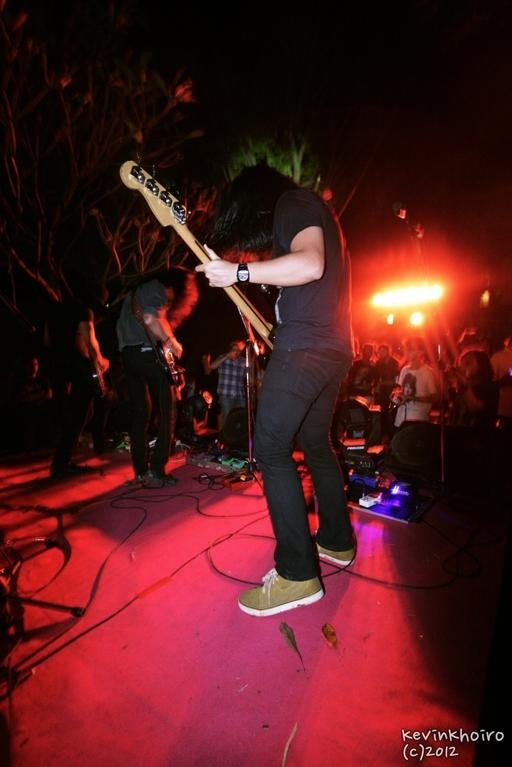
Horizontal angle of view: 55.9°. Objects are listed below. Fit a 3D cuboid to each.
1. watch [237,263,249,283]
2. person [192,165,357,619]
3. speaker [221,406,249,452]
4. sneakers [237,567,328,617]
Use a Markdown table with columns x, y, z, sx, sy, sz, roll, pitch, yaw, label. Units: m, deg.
| x | y | z | sx | sy | sz | roll | pitch | yaw | label |
| --- | --- | --- | --- | --- | --- | --- | --- | --- | --- |
| -0.052 | -0.435 | 1.941 | 0.045 | 0.081 | 0.072 | -1 | 14 | -2 | watch |
| 0.120 | -0.034 | 2.228 | 0.672 | 2.019 | 0.711 | 0 | 10 | 12 | person |
| -0.203 | 0.433 | 4.622 | 0.275 | 0.401 | 0.135 | 0 | 2 | 36 | speaker |
| 0.109 | 0.930 | 2.158 | 0.376 | 0.195 | 0.161 | -5 | -18 | -3 | sneakers |
